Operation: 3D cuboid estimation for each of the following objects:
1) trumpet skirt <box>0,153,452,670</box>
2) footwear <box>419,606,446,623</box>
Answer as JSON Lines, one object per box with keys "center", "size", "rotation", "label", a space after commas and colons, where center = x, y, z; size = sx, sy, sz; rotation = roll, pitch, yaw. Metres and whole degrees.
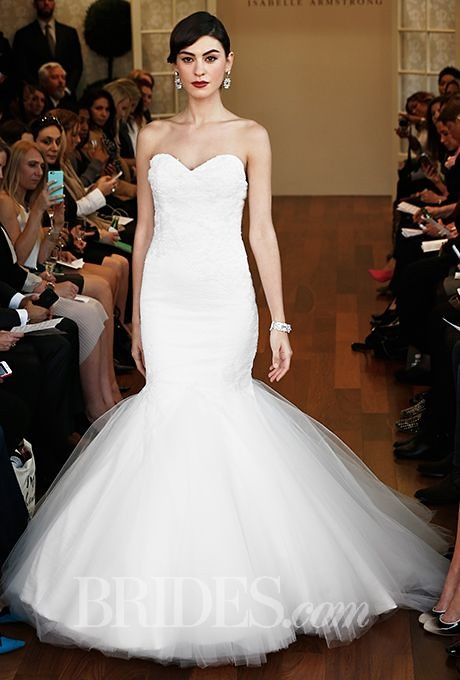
{"center": [-0.090, 0.346, 1.804], "size": [1.447, 1.503, 1.190], "rotation": [-1, 2, 8], "label": "trumpet skirt"}
{"center": [0.538, 0.741, 1.433], "size": [0.025, 0.031, 0.084], "rotation": [-5, -13, 39], "label": "footwear"}
